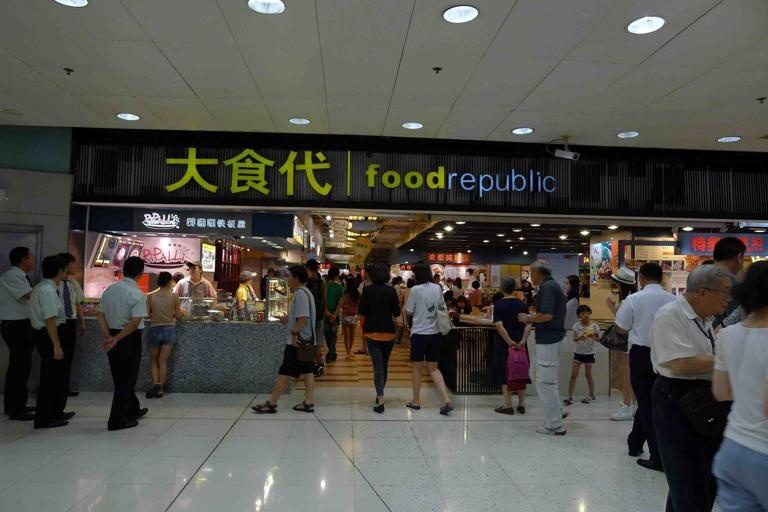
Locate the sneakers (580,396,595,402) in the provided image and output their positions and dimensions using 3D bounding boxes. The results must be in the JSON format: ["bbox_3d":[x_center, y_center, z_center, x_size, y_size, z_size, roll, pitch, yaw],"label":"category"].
[{"bbox_3d":[2.886,2.048,7.837,0.196,0.072,0.075,3,-5,-5],"label":"sneakers"}]

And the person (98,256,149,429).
[{"bbox_3d":[-3.037,1.019,6.468,0.484,1.945,0.461,-2,6,-28],"label":"person"}]

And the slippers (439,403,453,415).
[{"bbox_3d":[0.799,1.989,7.107,0.085,0.167,0.245,3,2,-8],"label":"slippers"}]

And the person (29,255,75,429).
[{"bbox_3d":[-3.929,1.006,6.571,0.407,1.960,0.623,-2,7,-32],"label":"person"}]

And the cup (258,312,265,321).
[{"bbox_3d":[-1.751,0.891,7.885,0.110,0.113,0.107,1,-6,0],"label":"cup"}]

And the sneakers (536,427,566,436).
[{"bbox_3d":[1.981,2.093,6.581,0.331,0.134,0.103,4,-3,14],"label":"sneakers"}]

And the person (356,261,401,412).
[{"bbox_3d":[-0.067,1.094,7.531,0.539,1.959,1.081,1,6,-2],"label":"person"}]

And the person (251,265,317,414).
[{"bbox_3d":[-1.229,1.085,7.105,0.697,1.914,0.665,1,6,-8],"label":"person"}]

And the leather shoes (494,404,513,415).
[{"bbox_3d":[1.577,2.046,7.283,0.256,0.090,0.092,2,-2,25],"label":"leather shoes"}]

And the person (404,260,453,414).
[{"bbox_3d":[0.603,1.103,7.552,0.658,2.018,1.070,2,6,3],"label":"person"}]

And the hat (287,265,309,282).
[{"bbox_3d":[-1.098,0.227,7.145,0.197,0.236,0.241,-4,45,-4],"label":"hat"}]

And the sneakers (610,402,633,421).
[{"bbox_3d":[3.147,2.039,7.159,0.416,0.241,0.155,0,-2,3],"label":"sneakers"}]

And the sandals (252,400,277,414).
[{"bbox_3d":[-1.504,1.940,7.052,0.273,0.109,0.147,6,-10,-10],"label":"sandals"}]

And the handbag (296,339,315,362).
[{"bbox_3d":[-0.963,1.199,6.873,0.214,0.303,0.110,1,6,-9],"label":"handbag"}]

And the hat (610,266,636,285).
[{"bbox_3d":[3.213,0.307,7.327,0.310,0.104,0.271,-1,28,-11],"label":"hat"}]

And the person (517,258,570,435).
[{"bbox_3d":[2.025,1.092,6.930,0.627,2.079,1.085,3,6,18],"label":"person"}]

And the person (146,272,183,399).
[{"bbox_3d":[-3.048,1.089,7.696,0.466,1.679,0.559,0,6,-19],"label":"person"}]

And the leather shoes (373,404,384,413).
[{"bbox_3d":[-0.056,1.992,7.193,0.148,0.104,0.235,1,6,0],"label":"leather shoes"}]

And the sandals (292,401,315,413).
[{"bbox_3d":[-1.024,1.974,7.187,0.282,0.113,0.119,2,-3,19],"label":"sandals"}]
